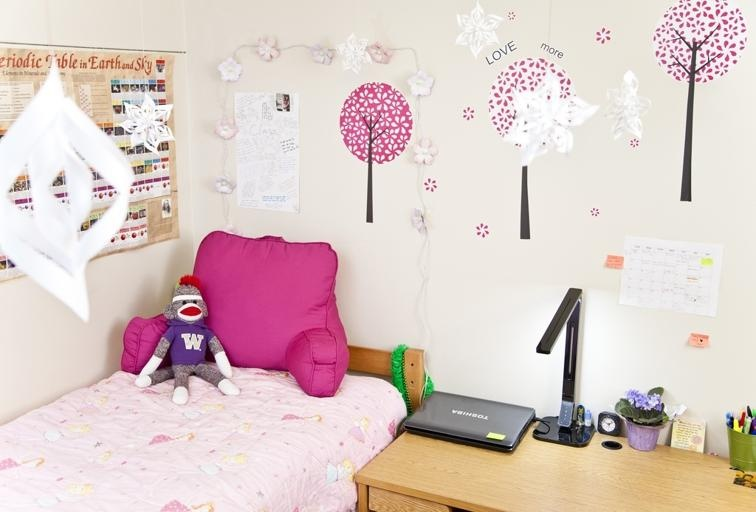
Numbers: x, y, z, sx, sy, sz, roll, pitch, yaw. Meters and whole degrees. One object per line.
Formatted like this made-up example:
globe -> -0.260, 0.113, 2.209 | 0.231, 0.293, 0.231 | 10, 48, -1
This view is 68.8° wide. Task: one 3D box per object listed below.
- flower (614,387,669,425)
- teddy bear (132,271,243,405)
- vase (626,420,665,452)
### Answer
flower -> 1.011, 0.589, 2.180 | 0.099, 0.089, 0.139 | -3, -6, 9
teddy bear -> -0.805, 0.342, 2.412 | 0.432, 0.493, 0.413 | 6, 6, 5
vase -> 1.044, 0.707, 2.165 | 0.123, 0.093, 0.126 | 9, 3, 31
